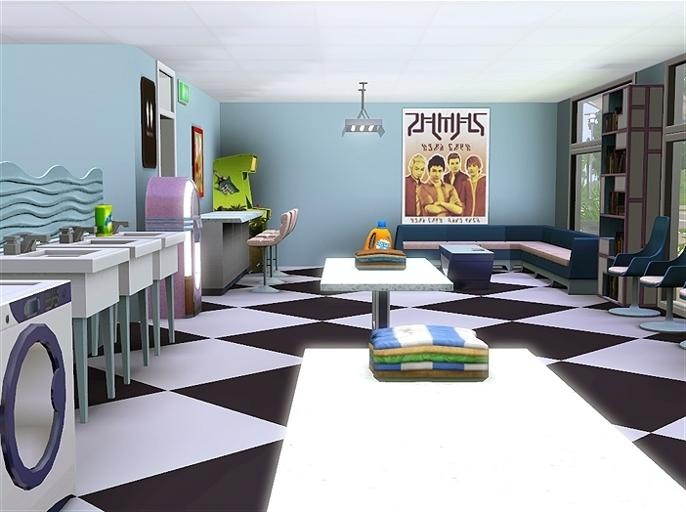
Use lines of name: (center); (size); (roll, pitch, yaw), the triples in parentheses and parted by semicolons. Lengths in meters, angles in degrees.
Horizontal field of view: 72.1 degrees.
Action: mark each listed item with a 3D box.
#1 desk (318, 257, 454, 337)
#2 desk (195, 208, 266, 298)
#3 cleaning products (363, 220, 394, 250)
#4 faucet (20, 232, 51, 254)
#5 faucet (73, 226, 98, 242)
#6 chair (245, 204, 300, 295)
desk: (0.288, 0.362, 3.480); (0.850, 0.590, 1.014); (0, 8, 1)
desk: (-1.756, -0.095, 7.508); (0.605, 1.150, 1.588); (0, 8, 0)
cleaning products: (0.285, -0.165, 3.761); (0.180, 0.205, 0.245); (-1, 8, -5)
faucet: (-2.150, -0.097, 3.204); (0.245, 0.154, 0.153); (-1, 4, -4)
faucet: (-2.145, -0.194, 3.869); (0.209, 0.131, 0.143); (0, 5, -4)
chair: (-1.271, -0.159, 8.392); (0.498, 0.940, 1.524); (2, 7, 3)
